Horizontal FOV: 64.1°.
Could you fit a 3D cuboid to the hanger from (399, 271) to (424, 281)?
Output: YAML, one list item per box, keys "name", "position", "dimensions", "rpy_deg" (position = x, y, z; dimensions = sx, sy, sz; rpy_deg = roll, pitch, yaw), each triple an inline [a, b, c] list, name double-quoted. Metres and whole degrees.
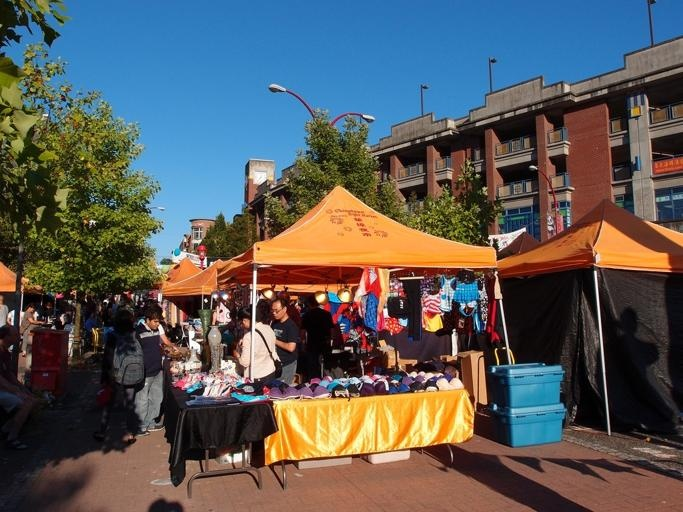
- name: "hanger"
  position: [1.581, 0.446, 12.925]
  dimensions: [0.352, 0.164, 0.371]
  rpy_deg: [-4, -8, 25]

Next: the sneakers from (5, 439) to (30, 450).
- name: "sneakers"
  position: [-5.241, 3.039, 8.801]
  dimensions: [0.300, 0.160, 0.160]
  rpy_deg: [1, -2, -36]

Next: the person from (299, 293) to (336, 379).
- name: "person"
  position: [-0.486, 1.662, 11.128]
  dimensions: [0.616, 1.950, 0.551]
  rpy_deg: [-1, 22, -2]

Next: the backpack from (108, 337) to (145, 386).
- name: "backpack"
  position: [-3.521, 1.725, 8.851]
  dimensions: [0.448, 0.852, 0.543]
  rpy_deg: [-20, -21, 36]

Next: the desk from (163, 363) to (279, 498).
- name: "desk"
  position: [-1.651, 2.456, 7.411]
  dimensions: [1.344, 1.161, 1.203]
  rpy_deg: [0, -2, -22]

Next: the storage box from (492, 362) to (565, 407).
- name: "storage box"
  position: [3.139, 2.205, 9.159]
  dimensions: [1.073, 0.603, 0.774]
  rpy_deg: [-2, -13, -5]

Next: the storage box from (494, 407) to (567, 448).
- name: "storage box"
  position: [3.102, 2.803, 9.179]
  dimensions: [1.128, 0.632, 0.809]
  rpy_deg: [0, -8, -16]

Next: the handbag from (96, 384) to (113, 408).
- name: "handbag"
  position: [-3.839, 2.258, 8.837]
  dimensions: [0.229, 0.332, 0.205]
  rpy_deg: [1, -2, -36]
